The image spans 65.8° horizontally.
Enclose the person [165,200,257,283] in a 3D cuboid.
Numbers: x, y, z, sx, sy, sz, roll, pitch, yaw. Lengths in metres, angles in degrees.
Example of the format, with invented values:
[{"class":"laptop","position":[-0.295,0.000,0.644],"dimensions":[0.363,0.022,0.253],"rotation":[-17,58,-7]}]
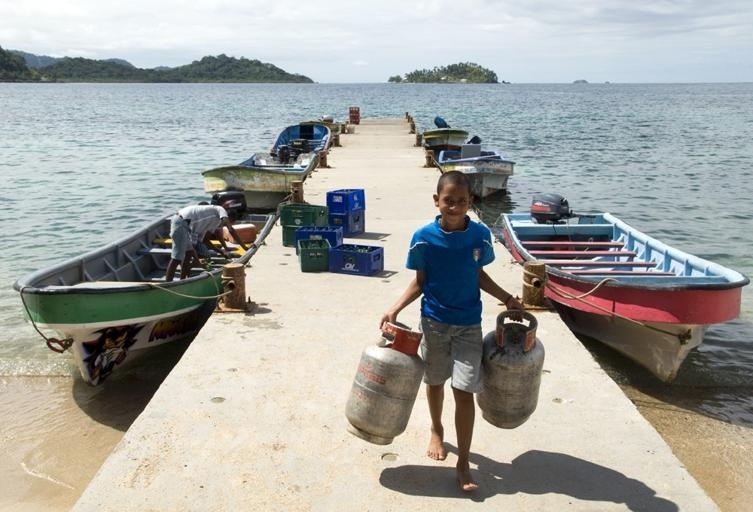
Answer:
[{"class":"person","position":[-3.252,-0.423,10.863],"dimensions":[0.886,1.140,2.555],"rotation":[-3,18,23]}]

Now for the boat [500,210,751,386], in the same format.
[{"class":"boat","position":[4.171,0.459,10.816],"dimensions":[3.053,1.302,5.171],"rotation":[-2,15,1]}]

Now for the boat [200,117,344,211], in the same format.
[{"class":"boat","position":[-3.348,-3.375,22.547],"dimensions":[3.369,1.567,7.941],"rotation":[2,17,8]}]
